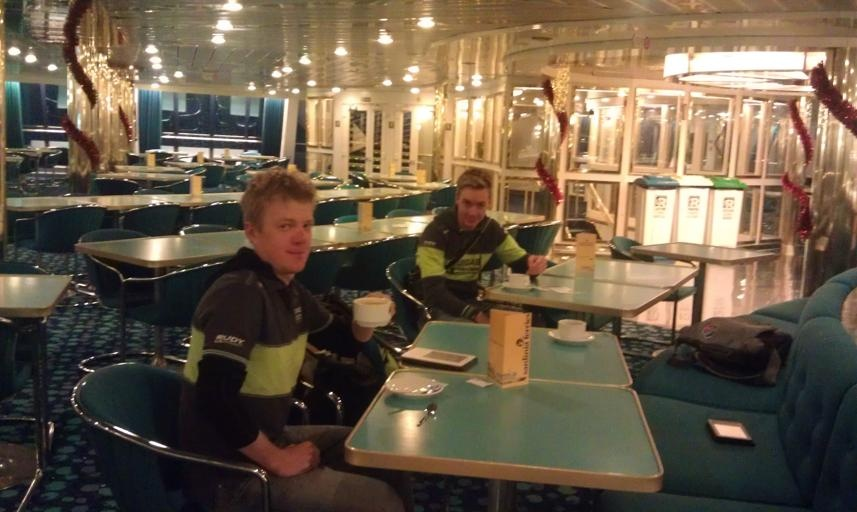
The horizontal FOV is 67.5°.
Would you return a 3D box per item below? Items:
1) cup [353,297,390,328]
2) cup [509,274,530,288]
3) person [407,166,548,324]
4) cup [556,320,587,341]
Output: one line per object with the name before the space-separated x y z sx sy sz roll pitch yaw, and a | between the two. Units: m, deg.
cup | -0.321 0.308 3.598 0.217 0.104 0.186 1 5 -1
cup | 0.656 0.185 4.740 0.147 0.077 0.101 5 -3 -22
person | 0.392 -0.019 5.133 1.162 1.149 1.039 -2 8 -16
cup | 0.879 0.457 3.964 0.156 0.088 0.144 0 -2 0
